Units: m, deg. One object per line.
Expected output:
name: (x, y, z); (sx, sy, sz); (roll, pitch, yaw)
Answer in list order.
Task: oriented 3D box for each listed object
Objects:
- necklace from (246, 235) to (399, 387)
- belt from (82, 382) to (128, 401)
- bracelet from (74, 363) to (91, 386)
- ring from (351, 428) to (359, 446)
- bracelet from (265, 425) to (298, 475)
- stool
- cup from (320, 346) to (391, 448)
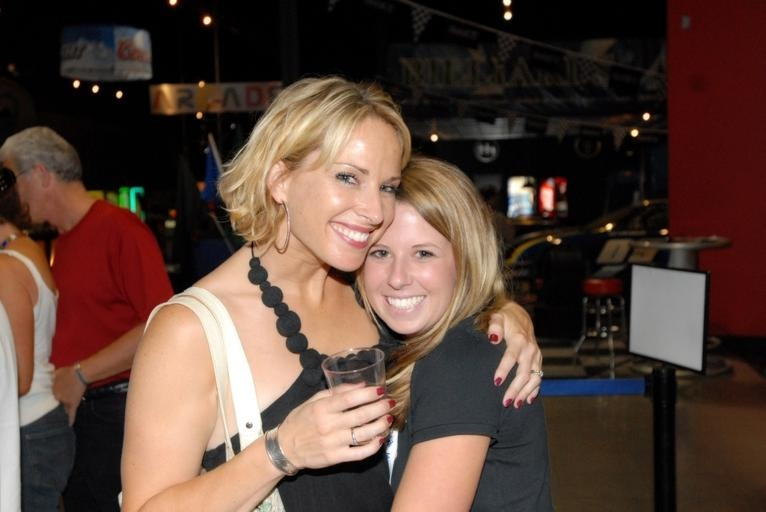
necklace: (-0.352, 0.268, 3.669); (0.182, 0.780, 0.534); (-34, -4, 30)
belt: (-1.888, 0.921, 4.717); (0.247, 0.089, 0.186); (-5, -3, -4)
bracelet: (-2.004, 0.789, 4.638); (0.071, 0.104, 0.108); (-37, 16, -5)
ring: (-0.138, 0.886, 3.399); (0.024, 0.067, 0.056); (-15, 28, 7)
bracelet: (-0.507, 0.949, 3.452); (0.083, 0.168, 0.204); (-32, 38, 1)
stool: (2.285, 0.676, 7.236); (0.484, 0.878, 0.547); (6, 8, 19)
cup: (-0.138, 0.608, 3.449); (0.242, 0.263, 0.247); (-10, -14, -3)
